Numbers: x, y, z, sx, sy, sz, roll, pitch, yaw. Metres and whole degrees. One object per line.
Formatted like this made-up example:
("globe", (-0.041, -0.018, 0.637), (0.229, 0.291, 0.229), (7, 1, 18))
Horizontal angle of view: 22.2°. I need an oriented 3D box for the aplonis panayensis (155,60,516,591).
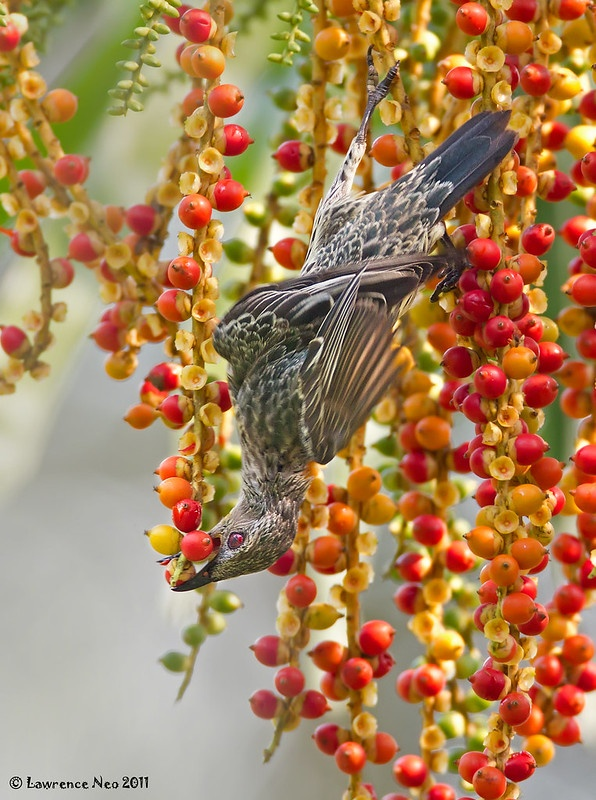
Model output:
("aplonis panayensis", (0.039, -0.065, 1.372), (0.170, 0.231, 0.552), (37, -70, -10))
